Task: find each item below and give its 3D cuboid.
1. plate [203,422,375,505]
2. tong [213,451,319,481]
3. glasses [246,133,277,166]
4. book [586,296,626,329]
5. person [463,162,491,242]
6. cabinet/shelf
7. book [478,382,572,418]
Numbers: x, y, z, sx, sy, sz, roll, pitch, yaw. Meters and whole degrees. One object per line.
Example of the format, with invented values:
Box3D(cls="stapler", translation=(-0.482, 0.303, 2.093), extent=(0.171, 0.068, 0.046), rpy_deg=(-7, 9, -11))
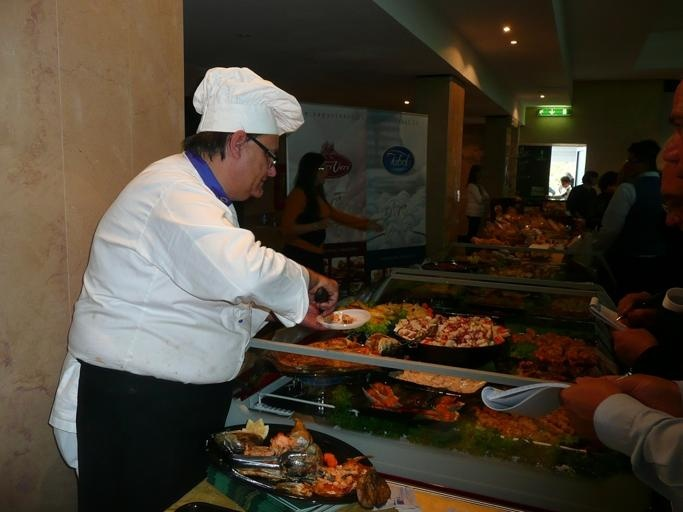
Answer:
Box3D(cls="plate", translation=(-0.147, 0.554, 1.387), extent=(0.281, 0.037, 0.201), rpy_deg=(11, 15, 25))
Box3D(cls="tong", translation=(-0.177, 0.543, 1.397), extent=(0.289, 0.079, 0.079), rpy_deg=(0, -21, 6))
Box3D(cls="glasses", translation=(-0.258, -0.336, 1.678), extent=(0.024, 0.081, 0.078), rpy_deg=(-36, -17, 8))
Box3D(cls="book", translation=(1.070, 0.238, 2.092), extent=(0.108, 0.031, 0.193), rpy_deg=(-8, 37, -38))
Box3D(cls="person", translation=(2.286, -0.919, 8.863), extent=(0.310, 1.264, 1.735), rpy_deg=(1, 5, 15))
Box3D(cls="cabinet/shelf", translation=(-0.122, 0.165, 4.524), extent=(0.721, 0.437, 0.408), rpy_deg=(-4, -3, -32))
Box3D(cls="book", translation=(0.468, 0.373, 1.374), extent=(0.139, 0.054, 0.140), rpy_deg=(-15, -13, 33))
